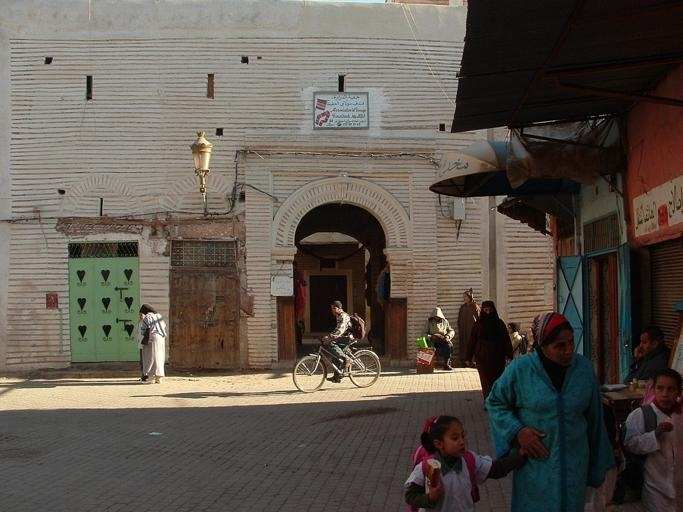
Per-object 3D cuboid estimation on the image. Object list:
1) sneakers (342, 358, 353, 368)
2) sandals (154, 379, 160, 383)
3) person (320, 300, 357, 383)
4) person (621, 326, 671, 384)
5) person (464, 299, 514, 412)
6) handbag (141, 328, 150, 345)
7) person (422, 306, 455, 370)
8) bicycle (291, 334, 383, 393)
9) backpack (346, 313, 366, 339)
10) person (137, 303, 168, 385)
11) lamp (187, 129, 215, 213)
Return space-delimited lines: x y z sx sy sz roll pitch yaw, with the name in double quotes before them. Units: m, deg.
"sneakers" 0.139 2.175 17.124 0.194 0.228 0.343 -4 -7 19
"sandals" -3.967 2.654 18.072 0.127 0.130 0.071 0 -1 6
"person" -0.078 1.721 17.093 0.451 1.611 0.806 -3 -7 10
"person" 3.879 1.368 10.623 0.477 0.891 0.626 5 4 5
"person" 2.492 1.644 14.290 0.807 1.793 0.408 -4 -13 12
"handbag" -4.177 1.687 17.884 0.174 0.340 0.127 1 -7 -20
"person" 2.261 1.869 19.389 0.594 1.478 1.031 -3 -7 13
"bicycle" -0.147 2.232 17.407 1.828 1.172 0.894 0 -5 -17
"backpack" 0.317 1.466 18.208 0.278 0.589 0.465 -10 -40 2
"person" -4.085 1.859 18.109 0.535 1.664 0.552 0 -7 -14
"lamp" -3.111 -2.046 18.726 0.493 1.904 1.879 -1 -7 -9
